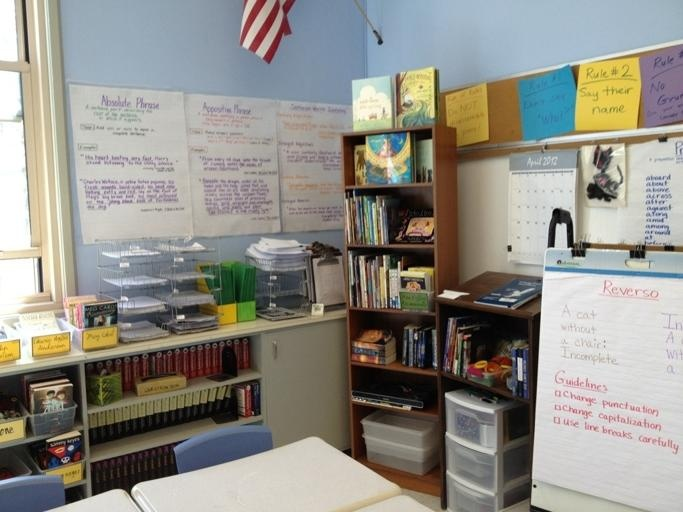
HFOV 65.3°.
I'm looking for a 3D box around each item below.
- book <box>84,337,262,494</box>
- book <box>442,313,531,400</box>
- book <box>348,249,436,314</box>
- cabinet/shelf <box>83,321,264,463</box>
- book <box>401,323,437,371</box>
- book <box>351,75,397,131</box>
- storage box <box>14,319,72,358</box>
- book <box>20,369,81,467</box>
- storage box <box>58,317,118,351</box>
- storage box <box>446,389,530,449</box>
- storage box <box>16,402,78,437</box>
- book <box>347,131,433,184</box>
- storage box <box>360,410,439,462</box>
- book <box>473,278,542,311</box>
[{"bbox_3d":[-0.995,0.893,2.978,0.874,0.811,0.266,-4,2,-34],"label":"book"},{"bbox_3d":[0.878,0.592,3.169,0.634,0.458,0.343,6,7,44],"label":"book"},{"bbox_3d":[0.345,0.159,3.609,0.620,0.392,0.212,2,8,32],"label":"book"},{"bbox_3d":[-1.040,0.809,3.160,0.828,0.765,0.268,-5,2,-38],"label":"cabinet/shelf"},{"bbox_3d":[0.506,0.580,3.582,0.216,0.298,0.296,1,0,32],"label":"book"},{"bbox_3d":[0.204,-0.986,3.488,0.267,0.339,0.191,-2,7,3],"label":"book"},{"bbox_3d":[-1.671,0.441,2.978,0.176,0.102,0.289,-2,4,-38],"label":"storage box"},{"bbox_3d":[-1.604,0.906,2.974,0.242,0.469,0.288,-7,8,-33],"label":"book"},{"bbox_3d":[-1.464,0.441,3.083,0.143,0.083,0.232,-2,8,-42],"label":"storage box"},{"bbox_3d":[0.839,0.930,3.133,0.312,0.210,0.311,4,5,45],"label":"storage box"},{"bbox_3d":[-1.568,0.907,2.903,0.213,0.137,0.156,-4,5,-37],"label":"storage box"},{"bbox_3d":[0.327,-0.634,3.503,0.611,0.339,0.147,2,8,35],"label":"book"},{"bbox_3d":[0.424,1.225,3.725,0.413,0.185,0.286,1,3,32],"label":"storage box"},{"bbox_3d":[0.991,0.217,3.077,0.170,0.031,0.286,5,22,39],"label":"book"}]
